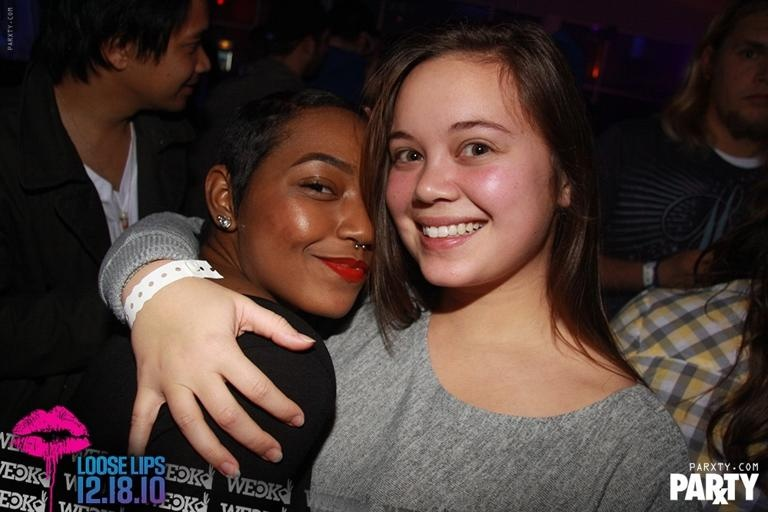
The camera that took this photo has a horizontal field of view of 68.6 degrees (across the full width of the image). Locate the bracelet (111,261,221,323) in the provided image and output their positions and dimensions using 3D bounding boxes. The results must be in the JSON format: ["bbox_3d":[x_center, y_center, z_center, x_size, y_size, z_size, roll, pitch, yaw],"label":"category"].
[{"bbox_3d":[-0.888,0.140,2.371,0.384,0.217,0.148,-8,29,-26],"label":"bracelet"}]
